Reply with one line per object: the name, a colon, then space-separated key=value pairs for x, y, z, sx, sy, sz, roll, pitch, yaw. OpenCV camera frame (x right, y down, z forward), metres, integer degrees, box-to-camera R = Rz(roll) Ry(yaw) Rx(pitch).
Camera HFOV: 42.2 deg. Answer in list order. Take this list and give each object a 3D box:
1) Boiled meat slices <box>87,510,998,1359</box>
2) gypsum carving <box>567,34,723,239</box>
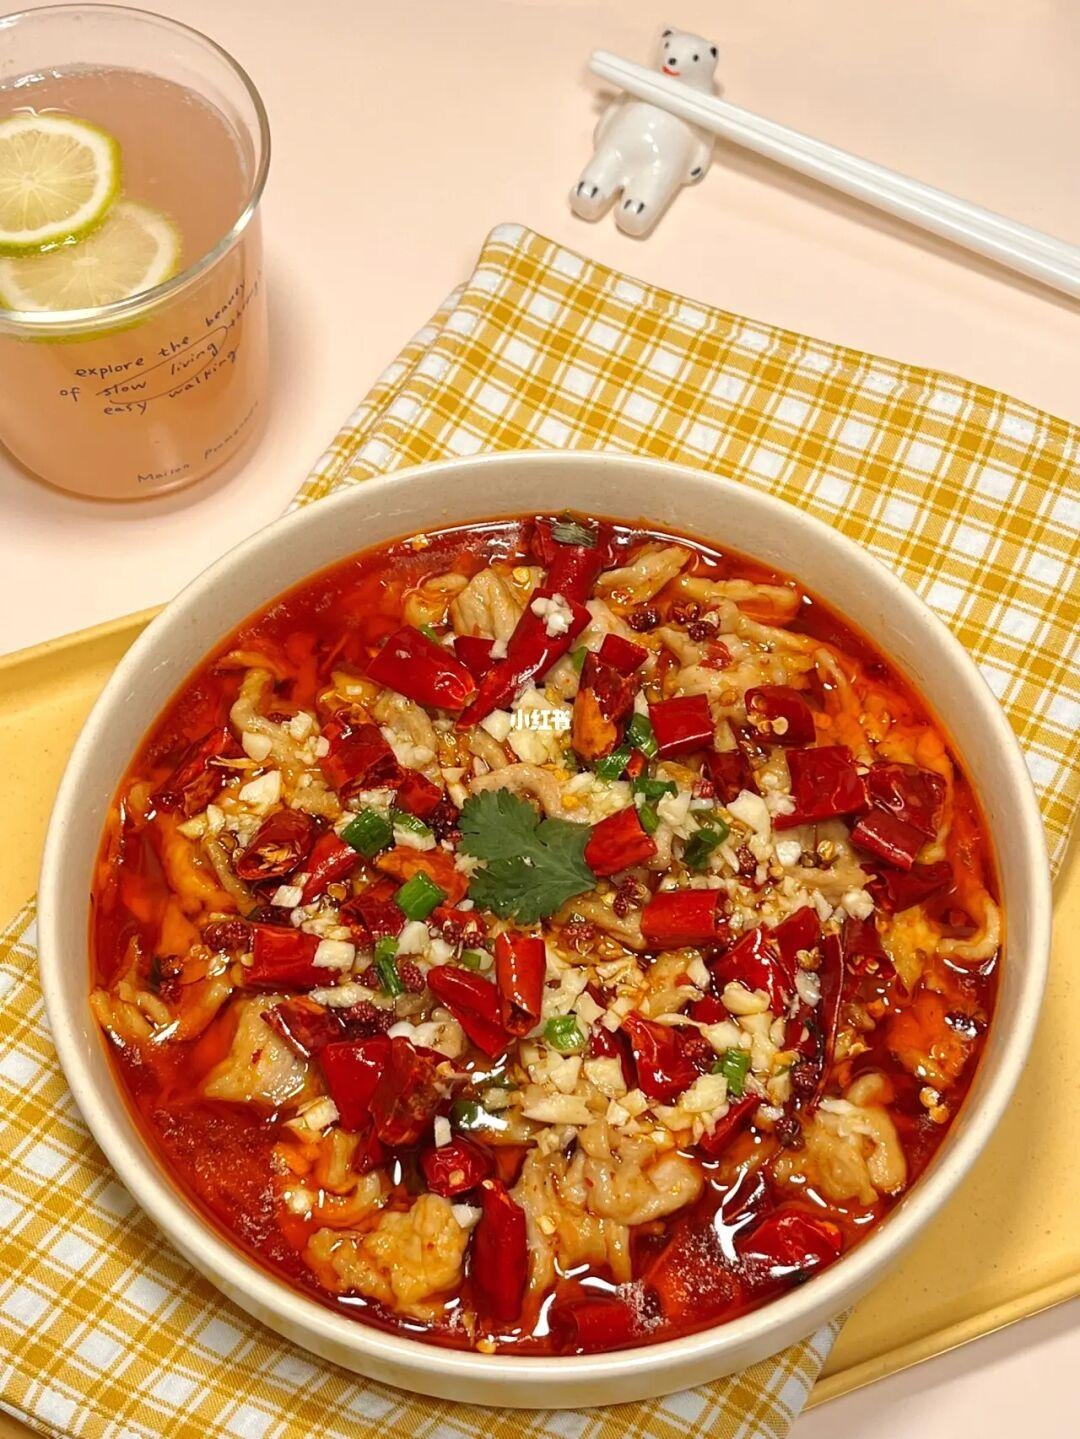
Boiled meat slices: x=0.013 y=0.289 z=2.375 sx=1.535 sy=0.370 sz=1.443 roll=-17 pitch=59 yaw=-14
gypsum carving: x=0.269 y=-1.428 z=3.623 sx=0.374 sy=0.209 sz=0.539 roll=25 pitch=90 yaw=9
